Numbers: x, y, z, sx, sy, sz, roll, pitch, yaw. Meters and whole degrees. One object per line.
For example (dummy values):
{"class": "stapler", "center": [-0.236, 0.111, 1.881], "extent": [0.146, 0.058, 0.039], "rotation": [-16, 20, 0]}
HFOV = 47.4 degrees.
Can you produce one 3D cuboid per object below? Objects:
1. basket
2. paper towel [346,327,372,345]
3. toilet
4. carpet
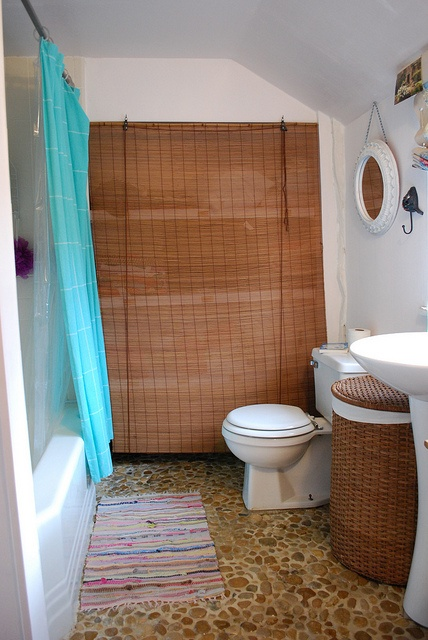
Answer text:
{"class": "basket", "center": [0.524, 0.544, 1.661], "extent": [0.224, 0.615, 0.363], "rotation": [-1, 4, 4]}
{"class": "paper towel", "center": [0.604, 0.065, 2.044], "extent": [0.074, 0.079, 0.074], "rotation": [-1, 10, -3]}
{"class": "toilet", "center": [0.367, 0.486, 2.189], "extent": [0.635, 0.701, 0.491], "rotation": [0, 9, 0]}
{"class": "carpet", "center": [-0.239, 0.849, 1.884], "extent": [0.470, 0.025, 0.754], "rotation": [-2, 5, -7]}
